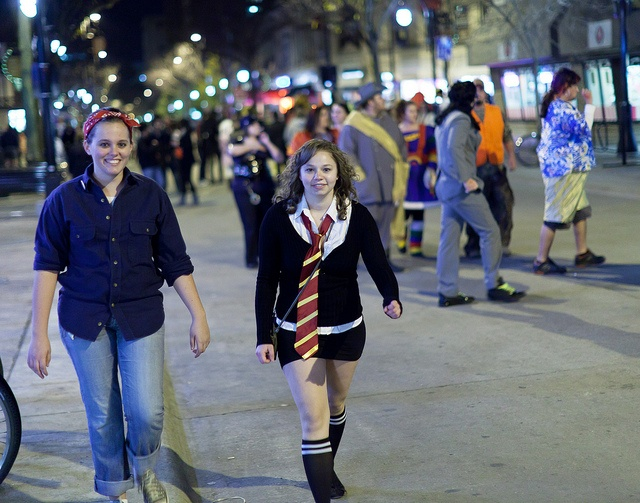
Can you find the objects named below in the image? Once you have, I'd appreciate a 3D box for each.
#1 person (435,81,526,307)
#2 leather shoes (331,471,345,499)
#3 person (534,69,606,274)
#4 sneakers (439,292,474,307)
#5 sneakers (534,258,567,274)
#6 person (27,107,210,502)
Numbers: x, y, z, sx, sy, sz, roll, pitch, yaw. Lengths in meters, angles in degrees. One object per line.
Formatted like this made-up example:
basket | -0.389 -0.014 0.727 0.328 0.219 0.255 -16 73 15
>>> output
person | 1.561 -0.595 8.901 0.776 2.362 0.559 -1 13 13
leather shoes | 0.110 1.526 5.470 0.078 0.103 0.259 -10 -27 4
person | 2.765 -0.910 9.717 0.651 2.358 0.409 0 13 16
sneakers | 1.437 0.519 9.149 0.387 0.176 0.142 -3 8 -11
sneakers | 2.656 0.169 9.964 0.399 0.182 0.150 -1 5 -11
person | -1.234 0.342 5.171 1.068 2.385 0.610 -6 13 -8
